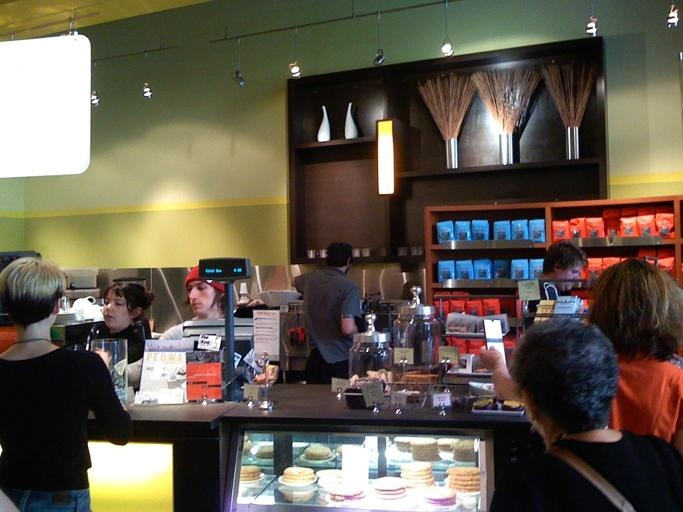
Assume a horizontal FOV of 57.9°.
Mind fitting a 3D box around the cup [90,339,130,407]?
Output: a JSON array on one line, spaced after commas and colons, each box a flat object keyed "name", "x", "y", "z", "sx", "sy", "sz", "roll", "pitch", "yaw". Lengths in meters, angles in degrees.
[{"name": "cup", "x": -1.130, "y": 0.558, "z": 2.949, "sx": 0.168, "sy": 0.308, "sz": 0.166, "roll": -2, "pitch": -12, "yaw": 0}]

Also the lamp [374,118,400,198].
[{"name": "lamp", "x": 0.416, "y": -0.906, "z": 5.616, "sx": 0.185, "sy": 0.677, "sz": 0.592, "roll": -1, "pitch": 2, "yaw": 5}]

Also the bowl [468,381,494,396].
[{"name": "bowl", "x": 0.628, "y": 0.599, "z": 2.794, "sx": 0.092, "sy": 0.052, "sz": 0.128, "roll": 2, "pitch": 2, "yaw": 25}]

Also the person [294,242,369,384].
[{"name": "person", "x": -0.078, "y": 0.409, "z": 4.550, "sx": 0.405, "sy": 1.020, "sz": 0.359, "roll": -1, "pitch": 1, "yaw": -3}]

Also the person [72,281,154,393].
[{"name": "person", "x": -1.195, "y": 0.428, "z": 3.247, "sx": 0.288, "sy": 0.797, "sz": 0.333, "roll": -15, "pitch": -27, "yaw": 25}]

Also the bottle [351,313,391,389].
[{"name": "bottle", "x": 0.148, "y": 0.477, "z": 3.142, "sx": 0.229, "sy": 0.376, "sz": 0.228, "roll": 0, "pitch": 3, "yaw": 0}]

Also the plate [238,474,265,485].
[{"name": "plate", "x": -0.421, "y": 1.025, "z": 2.845, "sx": 0.089, "sy": 0.013, "sz": 0.087, "roll": 2, "pitch": -2, "yaw": -42}]

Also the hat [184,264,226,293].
[{"name": "hat", "x": -0.836, "y": 0.129, "z": 3.552, "sx": 0.193, "sy": 0.157, "sz": 0.270, "roll": -5, "pitch": -6, "yaw": 30}]

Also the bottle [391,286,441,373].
[{"name": "bottle", "x": 0.374, "y": 0.348, "z": 3.062, "sx": 0.239, "sy": 0.388, "sz": 0.279, "roll": -1, "pitch": 1, "yaw": 5}]

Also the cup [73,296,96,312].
[{"name": "cup", "x": -1.764, "y": 0.327, "z": 4.238, "sx": 0.125, "sy": 0.083, "sz": 0.189, "roll": 2, "pitch": 7, "yaw": -20}]

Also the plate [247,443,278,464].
[{"name": "plate", "x": -0.373, "y": 0.925, "z": 2.904, "sx": 0.094, "sy": 0.031, "sz": 0.100, "roll": 0, "pitch": 4, "yaw": 22}]

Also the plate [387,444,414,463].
[{"name": "plate", "x": 0.258, "y": 0.913, "z": 2.834, "sx": 0.088, "sy": 0.024, "sz": 0.095, "roll": 1, "pitch": 0, "yaw": 20}]

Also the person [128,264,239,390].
[{"name": "person", "x": -0.959, "y": 0.422, "z": 3.757, "sx": 0.582, "sy": 1.096, "sz": 0.374, "roll": -10, "pitch": -19, "yaw": 30}]
